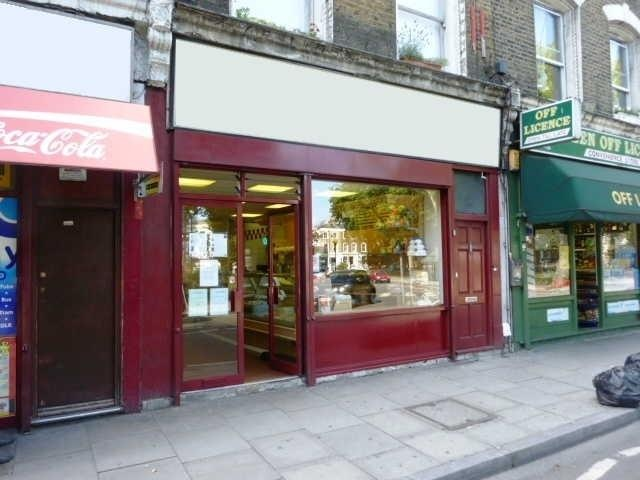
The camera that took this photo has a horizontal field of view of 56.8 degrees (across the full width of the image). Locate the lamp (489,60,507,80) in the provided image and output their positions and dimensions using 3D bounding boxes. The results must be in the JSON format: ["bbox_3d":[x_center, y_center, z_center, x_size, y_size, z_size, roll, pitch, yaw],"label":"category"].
[{"bbox_3d":[3.781,-3.593,12.598,0.416,0.400,0.214,-6,-2,-30],"label":"lamp"}]
